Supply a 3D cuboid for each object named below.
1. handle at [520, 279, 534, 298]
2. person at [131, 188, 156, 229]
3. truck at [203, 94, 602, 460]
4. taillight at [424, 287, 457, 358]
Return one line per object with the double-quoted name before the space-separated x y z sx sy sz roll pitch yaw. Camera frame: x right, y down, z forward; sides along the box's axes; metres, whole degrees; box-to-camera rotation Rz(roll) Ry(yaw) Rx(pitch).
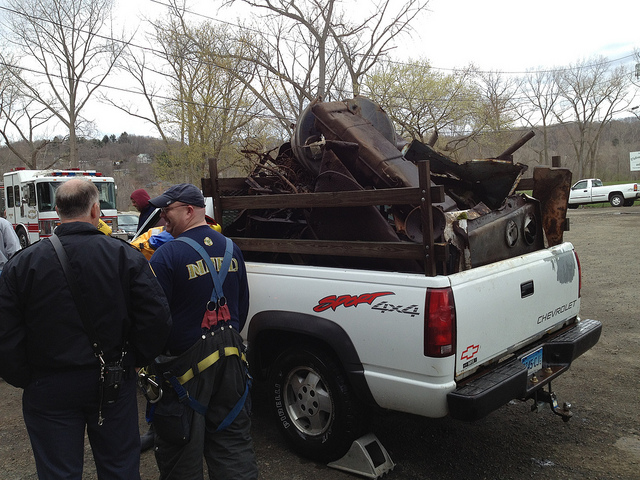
"handle" 1.712 0.404 4.043 0.146 0.111 0.019 -4 3 -40
"person" -2.176 -0.415 6.095 0.305 0.442 0.747 -13 2 -16
"truck" 0.103 0.098 5.707 2.898 3.216 5.352 -8 11 -43
"taillight" 0.943 0.622 3.498 0.266 0.521 0.283 12 -16 -29
